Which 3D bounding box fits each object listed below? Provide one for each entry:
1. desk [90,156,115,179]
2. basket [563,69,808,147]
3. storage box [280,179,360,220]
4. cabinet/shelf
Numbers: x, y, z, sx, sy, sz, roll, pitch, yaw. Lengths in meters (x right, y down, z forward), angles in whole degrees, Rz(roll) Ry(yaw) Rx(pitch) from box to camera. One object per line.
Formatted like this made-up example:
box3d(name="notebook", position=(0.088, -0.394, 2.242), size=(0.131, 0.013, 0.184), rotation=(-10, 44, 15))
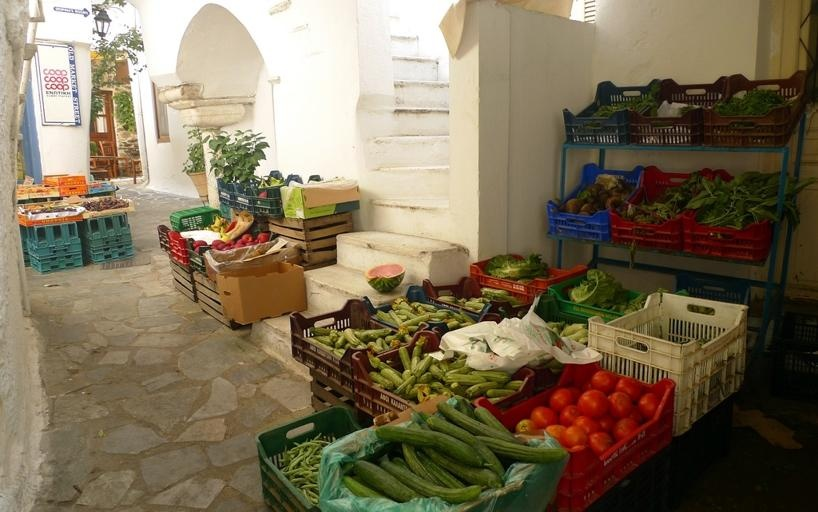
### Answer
box3d(name="desk", position=(-11.534, -3.284, 19.152), size=(0.787, 0.911, 2.694), rotation=(-10, 18, -28))
box3d(name="basket", position=(2.664, -1.426, 4.965), size=(1.941, 0.642, 0.944), rotation=(10, 20, 34))
box3d(name="storage box", position=(-1.105, -0.712, 6.402), size=(0.841, 0.372, 0.600), rotation=(-14, 13, -39))
box3d(name="cabinet/shelf", position=(2.558, -0.250, 4.596), size=(2.177, 1.802, 1.376), rotation=(8, 16, 34))
